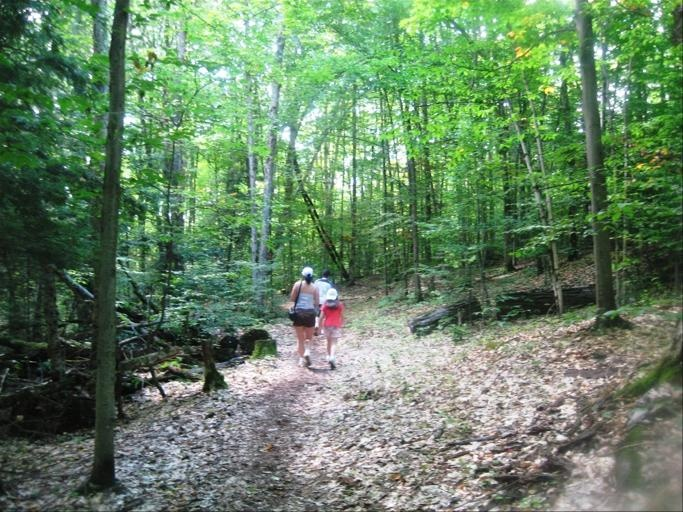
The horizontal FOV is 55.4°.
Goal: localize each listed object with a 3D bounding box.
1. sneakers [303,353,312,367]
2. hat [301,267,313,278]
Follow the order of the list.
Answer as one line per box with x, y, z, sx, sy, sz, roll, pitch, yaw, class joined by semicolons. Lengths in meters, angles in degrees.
-0.830;2.564;15.897;0.214;0.286;0.162;1;15;1;sneakers
-0.840;0.385;15.748;0.298;0.129;0.294;4;9;-5;hat
